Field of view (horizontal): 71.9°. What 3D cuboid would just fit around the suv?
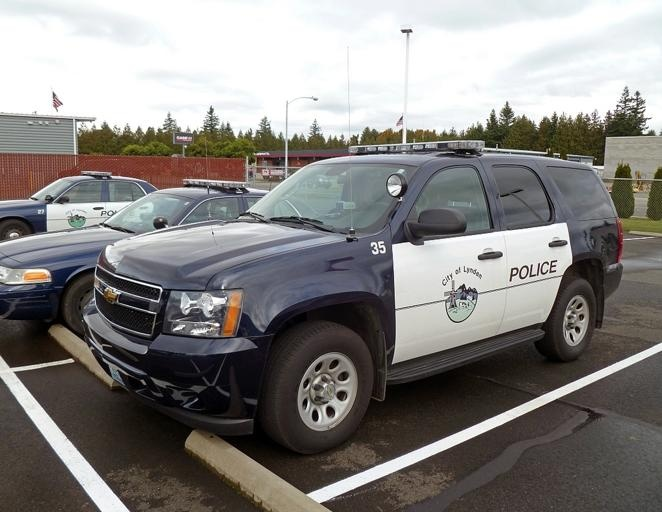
[{"bbox_3d":[0.486,0.027,4.695,4.709,1.991,2.549,-1,2,-35],"label":"suv"}]

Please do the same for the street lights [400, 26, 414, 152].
[{"bbox_3d":[4.502,-10.475,27.031,0.665,5.625,0.658,3,20,15],"label":"street lights"}]
